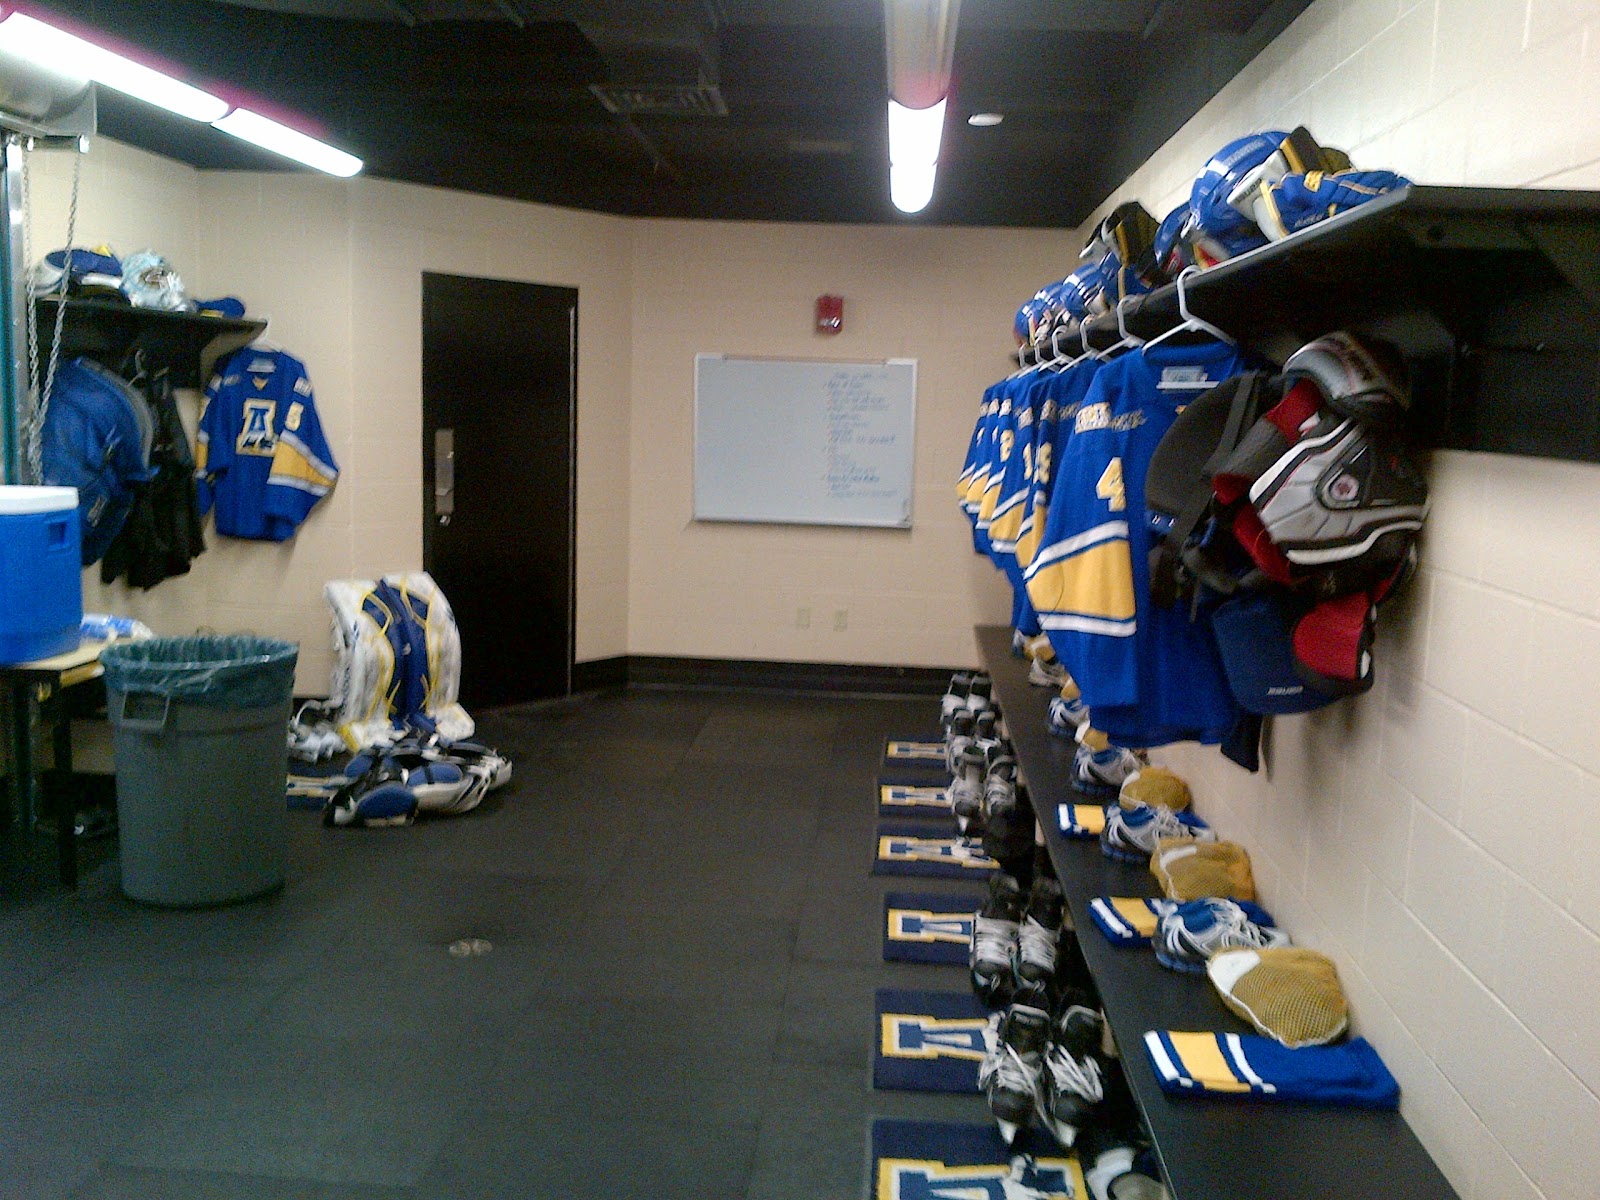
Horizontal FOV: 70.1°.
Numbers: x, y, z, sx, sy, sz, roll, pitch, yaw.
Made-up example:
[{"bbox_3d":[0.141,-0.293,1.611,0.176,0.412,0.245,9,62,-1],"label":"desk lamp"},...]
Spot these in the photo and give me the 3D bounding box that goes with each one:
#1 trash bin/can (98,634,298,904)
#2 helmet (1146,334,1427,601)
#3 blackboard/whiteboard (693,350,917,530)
[{"bbox_3d":[-2.067,0.593,4.003,0.590,0.833,0.679,3,6,-7],"label":"trash bin/can"},{"bbox_3d":[0.953,-0.249,2.308,0.457,0.519,0.394,-32,0,8],"label":"helmet"},{"bbox_3d":[0.032,-0.978,6.993,1.300,0.973,0.296,-1,10,-8],"label":"blackboard/whiteboard"}]
